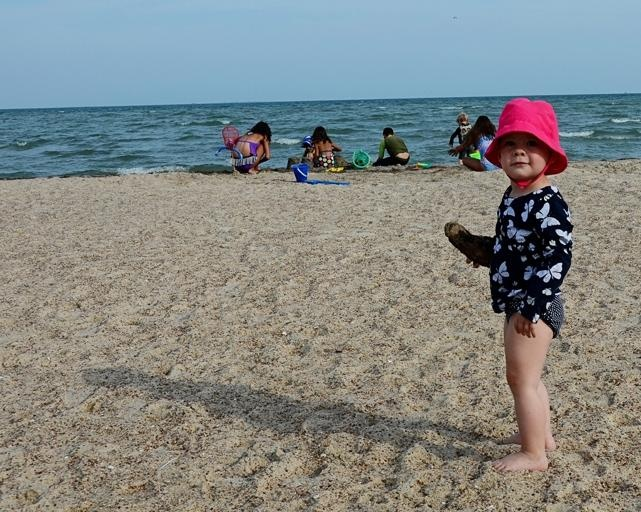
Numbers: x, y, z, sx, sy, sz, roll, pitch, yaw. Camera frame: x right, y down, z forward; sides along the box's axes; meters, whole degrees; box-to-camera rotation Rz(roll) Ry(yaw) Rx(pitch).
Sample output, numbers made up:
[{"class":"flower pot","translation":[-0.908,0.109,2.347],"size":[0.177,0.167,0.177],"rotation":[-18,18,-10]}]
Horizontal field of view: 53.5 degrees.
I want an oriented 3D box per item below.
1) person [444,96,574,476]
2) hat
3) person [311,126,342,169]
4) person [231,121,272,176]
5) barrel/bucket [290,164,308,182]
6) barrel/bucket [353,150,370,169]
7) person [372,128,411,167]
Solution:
[{"class":"person","translation":[0.998,0.163,3.295],"size":[0.603,1.892,0.702],"rotation":[0,22,15]},{"class":"hat","translation":[1.058,-0.600,3.248],"size":[0.423,0.263,0.422],"rotation":[9,11,19]},{"class":"person","translation":[-0.027,-2.115,12.428],"size":[0.754,0.781,0.525],"rotation":[9,28,17]},{"class":"person","translation":[-1.233,-1.865,11.041],"size":[0.538,0.818,0.769],"rotation":[0,20,14]},{"class":"barrel/bucket","translation":[-0.297,-1.224,9.385],"size":[0.321,0.240,0.277],"rotation":[-6,5,-3]},{"class":"barrel/bucket","translation":[0.770,-1.809,12.016],"size":[0.311,0.300,0.742],"rotation":[-4,18,2]},{"class":"person","translation":[1.374,-2.172,12.706],"size":[0.915,0.715,0.766],"rotation":[-2,8,29]}]
